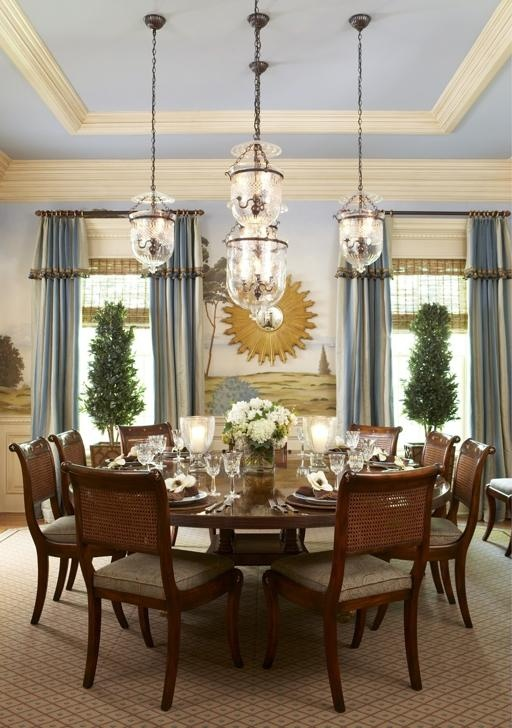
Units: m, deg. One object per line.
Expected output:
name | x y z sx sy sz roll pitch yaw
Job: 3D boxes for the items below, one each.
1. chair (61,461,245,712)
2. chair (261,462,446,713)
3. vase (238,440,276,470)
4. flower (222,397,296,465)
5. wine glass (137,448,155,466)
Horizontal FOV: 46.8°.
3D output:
chair | -0.408 0.833 2.364 0.471 0.884 0.586 -2 -4 30
chair | 0.375 0.834 2.351 0.506 0.879 0.598 2 -4 -29
vase | -0.003 0.436 2.819 0.167 0.154 0.147 1 -2 38
flower | 0.003 0.300 2.868 0.304 0.301 0.317 3 3 44
wine glass | -0.514 0.425 2.730 0.094 0.099 0.092 2 -8 -24
